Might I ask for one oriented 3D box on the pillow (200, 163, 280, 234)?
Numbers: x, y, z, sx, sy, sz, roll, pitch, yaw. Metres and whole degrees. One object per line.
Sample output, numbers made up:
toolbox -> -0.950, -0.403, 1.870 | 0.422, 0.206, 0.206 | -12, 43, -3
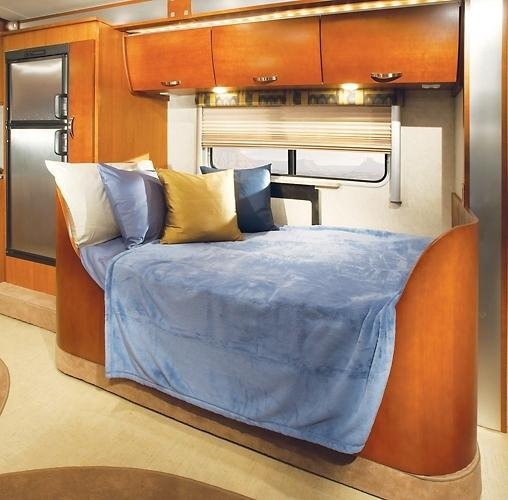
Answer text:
pillow -> -0.084, -0.317, 2.806 | 0.446, 0.515, 0.191 | -6, -8, -12

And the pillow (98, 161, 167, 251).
pillow -> -0.728, -0.255, 2.447 | 0.123, 0.429, 0.423 | -18, -1, 33

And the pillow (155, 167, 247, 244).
pillow -> -0.312, -0.237, 2.507 | 0.448, 0.415, 0.173 | 1, -15, -30

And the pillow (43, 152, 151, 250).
pillow -> -0.868, -0.285, 2.468 | 0.559, 0.480, 0.196 | -20, -10, -44
